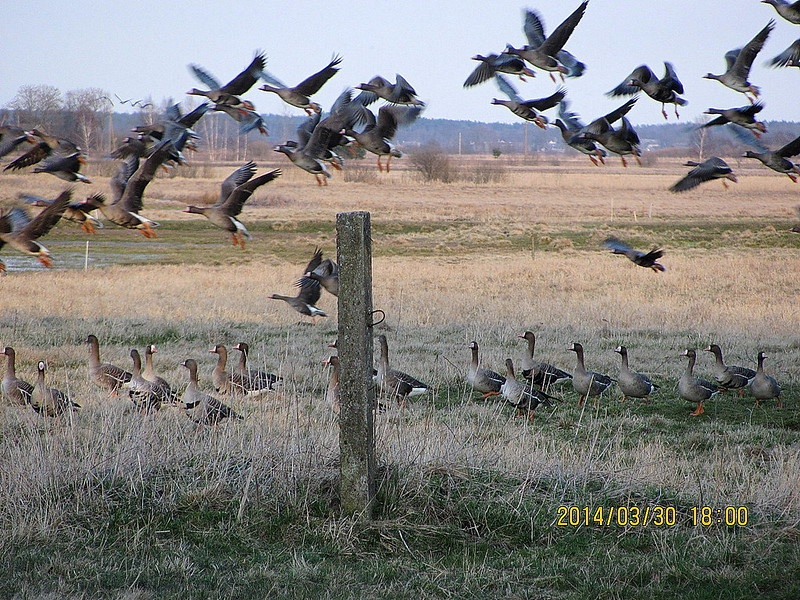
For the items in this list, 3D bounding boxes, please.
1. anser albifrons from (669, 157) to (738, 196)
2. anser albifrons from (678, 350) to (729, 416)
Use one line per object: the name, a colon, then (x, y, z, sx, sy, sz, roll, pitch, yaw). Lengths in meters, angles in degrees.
anser albifrons: (6.016, -2.471, 27.320, 1.246, 0.476, 0.870, -13, -1, -34)
anser albifrons: (5.842, 1.615, 26.895, 0.694, 1.233, 0.876, 1, 1, 27)
